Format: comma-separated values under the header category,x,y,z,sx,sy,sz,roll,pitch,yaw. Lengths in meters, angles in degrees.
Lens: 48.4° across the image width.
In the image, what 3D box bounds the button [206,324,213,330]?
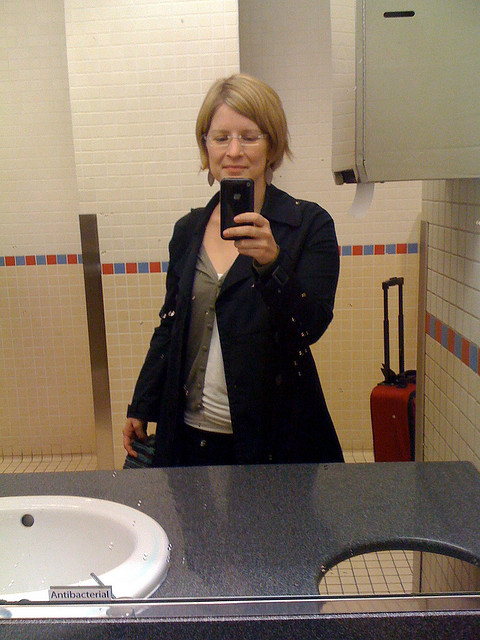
category,x,y,z,sx,sy,sz,roll,pitch,yaw
button,-0.052,0.013,0.905,0.008,0.009,0.002,16,6,8

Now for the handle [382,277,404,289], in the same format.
category,x,y,z,sx,sy,sz,roll,pitch,yaw
handle,0.226,-0.054,0.788,0.031,0.020,0.007,4,10,-1

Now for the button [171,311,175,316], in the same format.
category,x,y,z,sx,sy,sz,roll,pitch,yaw
button,-0.112,-0.010,0.885,0.004,0.007,0.002,-1,-12,-5

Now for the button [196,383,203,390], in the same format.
category,x,y,z,sx,sy,sz,roll,pitch,yaw
button,-0.071,0.116,0.930,0.008,0.011,0.003,0,16,11

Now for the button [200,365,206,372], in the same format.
category,x,y,z,sx,sy,sz,roll,pitch,yaw
button,-0.065,0.085,0.920,0.006,0.008,0.002,15,15,36

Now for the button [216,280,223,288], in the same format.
category,x,y,z,sx,sy,sz,roll,pitch,yaw
button,-0.034,-0.059,0.893,0.009,0.012,0.003,-30,-36,18

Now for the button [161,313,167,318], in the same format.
category,x,y,z,sx,sy,sz,roll,pitch,yaw
button,-0.128,-0.006,0.883,0.006,0.007,0.002,1,7,10

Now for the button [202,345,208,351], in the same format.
category,x,y,z,sx,sy,sz,roll,pitch,yaw
button,-0.061,0.050,0.914,0.007,0.009,0.005,-18,-18,10

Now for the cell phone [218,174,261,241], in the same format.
category,x,y,z,sx,sy,sz,roll,pitch,yaw
cell phone,-0.005,-0.154,0.753,0.049,0.105,0.012,-3,47,-5

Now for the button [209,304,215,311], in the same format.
category,x,y,z,sx,sy,sz,roll,pitch,yaw
button,-0.047,-0.020,0.895,0.008,0.011,0.004,-3,3,9

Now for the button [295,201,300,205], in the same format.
category,x,y,z,sx,sy,sz,roll,pitch,yaw
button,0.091,-0.184,0.841,0.006,0.007,0.001,4,1,28

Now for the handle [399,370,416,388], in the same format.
category,x,y,z,sx,sy,sz,roll,pitch,yaw
handle,0.277,0.097,0.881,0.020,0.029,0.037,-3,-1,14
